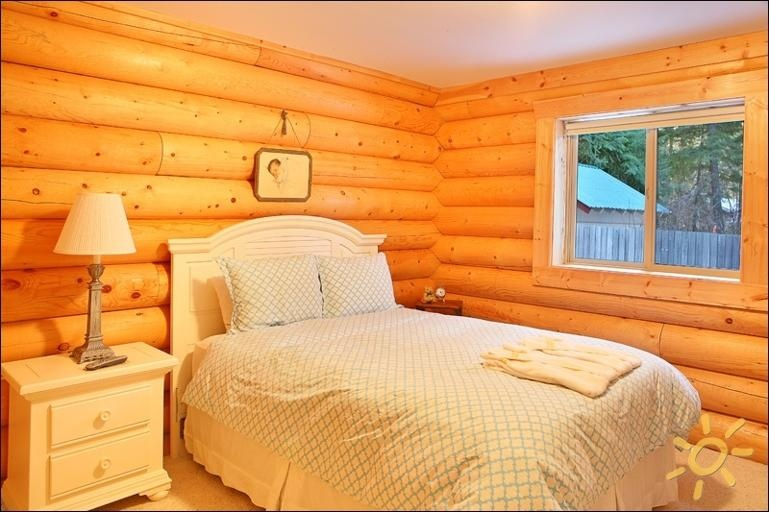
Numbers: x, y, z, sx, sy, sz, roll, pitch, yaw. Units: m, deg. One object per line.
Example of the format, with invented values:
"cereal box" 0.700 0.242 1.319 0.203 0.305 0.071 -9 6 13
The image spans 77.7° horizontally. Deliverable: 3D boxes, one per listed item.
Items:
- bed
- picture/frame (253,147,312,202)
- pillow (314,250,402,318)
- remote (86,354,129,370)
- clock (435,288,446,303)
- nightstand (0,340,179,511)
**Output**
"bed" 0.087 0.732 3.373 3.132 1.841 1.986 10 16 41
"picture/frame" -0.932 -0.735 4.344 0.055 0.464 0.645 13 14 35
"pillow" -0.273 0.237 4.211 0.732 0.507 0.199 -3 -24 -40
"remote" -1.841 0.700 3.152 0.084 0.038 0.180 4 6 44
"clock" 0.601 0.418 5.163 0.117 0.134 0.058 5 -2 17
"nightstand" -1.962 1.194 3.161 1.117 0.998 0.537 -6 15 -22
